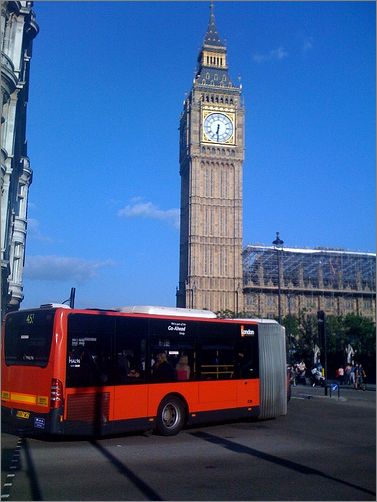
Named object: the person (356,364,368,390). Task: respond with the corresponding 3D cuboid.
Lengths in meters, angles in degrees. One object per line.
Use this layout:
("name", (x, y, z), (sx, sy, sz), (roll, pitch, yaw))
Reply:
("person", (9.954, 7.390, 31.620), (0.742, 1.150, 1.776), (0, -7, 12))
